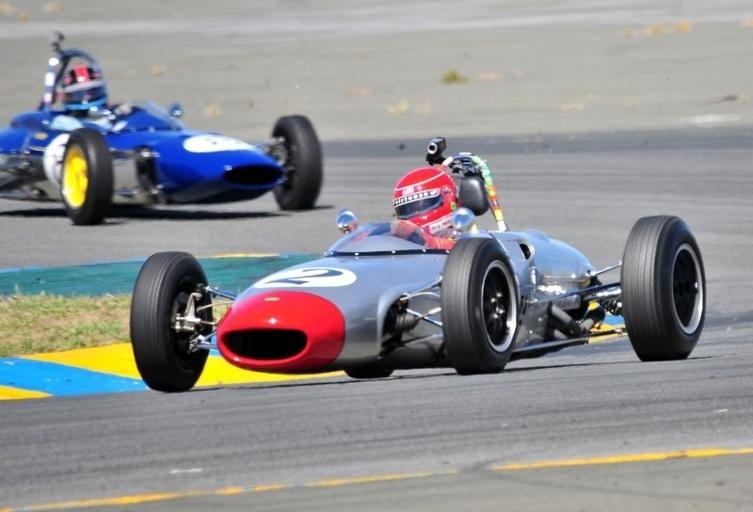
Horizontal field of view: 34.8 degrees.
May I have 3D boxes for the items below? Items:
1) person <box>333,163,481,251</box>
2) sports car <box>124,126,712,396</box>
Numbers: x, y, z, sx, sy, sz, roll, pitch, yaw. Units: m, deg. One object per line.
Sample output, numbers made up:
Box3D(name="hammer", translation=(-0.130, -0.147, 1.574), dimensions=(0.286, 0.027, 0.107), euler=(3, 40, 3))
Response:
Box3D(name="person", translation=(0.363, -0.473, 11.524), dimensions=(1.375, 0.570, 0.941), euler=(-19, 17, -15))
Box3D(name="sports car", translation=(0.629, 0.146, 10.841), dimensions=(2.729, 1.385, 4.081), euler=(-4, -4, 43))
